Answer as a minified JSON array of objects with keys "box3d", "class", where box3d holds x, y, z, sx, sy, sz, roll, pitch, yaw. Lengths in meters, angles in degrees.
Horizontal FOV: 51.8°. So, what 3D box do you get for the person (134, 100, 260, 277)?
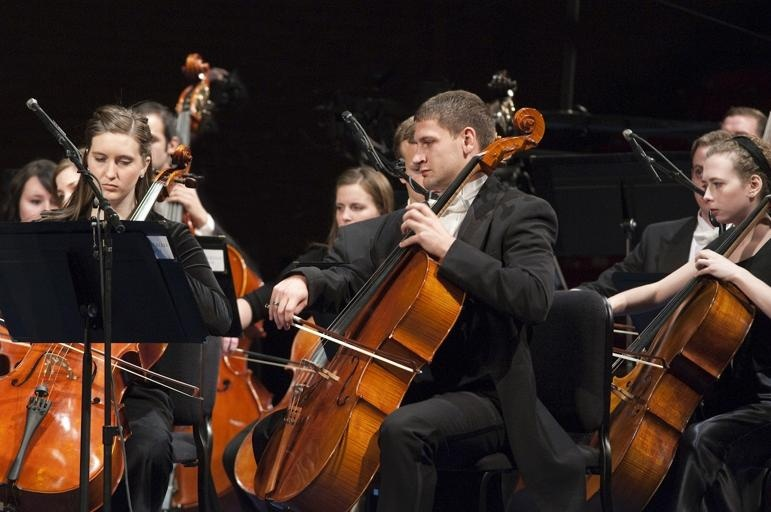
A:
[{"box3d":[-1.342,-0.558,5.006,0.576,1.347,0.268,-3,-4,-2],"class":"person"}]
